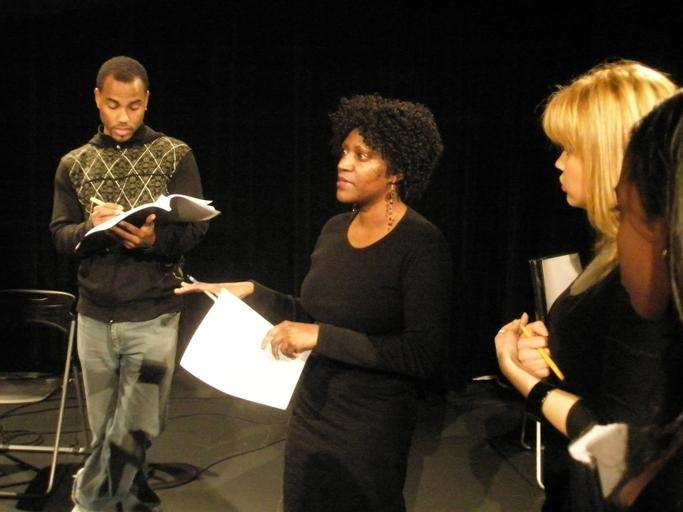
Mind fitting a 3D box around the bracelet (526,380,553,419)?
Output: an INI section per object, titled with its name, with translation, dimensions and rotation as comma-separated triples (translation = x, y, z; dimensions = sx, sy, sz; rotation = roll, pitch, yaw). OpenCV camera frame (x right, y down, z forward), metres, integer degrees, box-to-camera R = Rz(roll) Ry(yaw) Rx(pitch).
[bracelet]
translation = 0.530, 0.389, 1.864
dimensions = 0.062, 0.099, 0.037
rotation = 23, -10, 41
